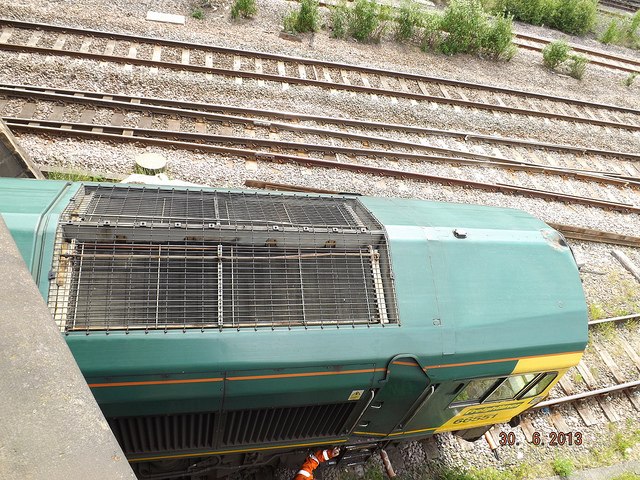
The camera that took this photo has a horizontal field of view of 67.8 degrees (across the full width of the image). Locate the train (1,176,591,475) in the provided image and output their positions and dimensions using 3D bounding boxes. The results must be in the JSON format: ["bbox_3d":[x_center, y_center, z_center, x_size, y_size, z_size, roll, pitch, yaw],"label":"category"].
[{"bbox_3d":[-0.342,1.357,6.695,6.739,3.812,2.993,0,47,-14],"label":"train"}]
